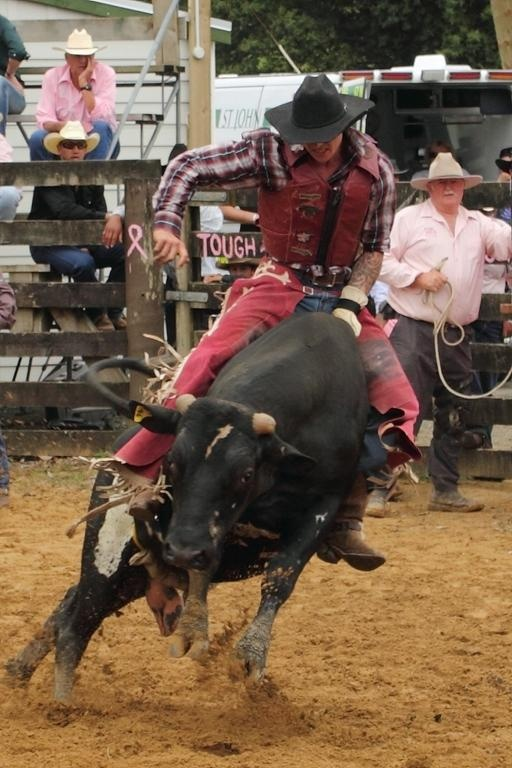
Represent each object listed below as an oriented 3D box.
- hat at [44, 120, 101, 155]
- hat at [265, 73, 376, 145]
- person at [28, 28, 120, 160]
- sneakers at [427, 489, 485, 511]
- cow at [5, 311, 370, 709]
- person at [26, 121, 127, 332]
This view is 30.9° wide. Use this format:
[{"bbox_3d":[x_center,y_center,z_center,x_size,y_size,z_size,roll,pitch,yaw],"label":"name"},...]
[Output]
[{"bbox_3d":[-1.516,-2.017,7.626,0.469,0.169,0.453,1,-15,-13],"label":"hat"},{"bbox_3d":[0.218,-0.992,3.237,0.386,0.150,0.381,-2,39,13],"label":"hat"},{"bbox_3d":[-1.615,-2.427,8.245,0.911,1.253,0.871,-10,30,-30],"label":"person"},{"bbox_3d":[1.339,0.769,6.148,0.356,0.121,0.136,-4,-5,26],"label":"sneakers"},{"bbox_3d":[-0.128,0.456,3.033,0.968,1.305,1.089,-10,14,-36],"label":"cow"},{"bbox_3d":[-1.398,-1.232,7.408,0.942,1.495,0.671,16,20,35],"label":"person"}]
